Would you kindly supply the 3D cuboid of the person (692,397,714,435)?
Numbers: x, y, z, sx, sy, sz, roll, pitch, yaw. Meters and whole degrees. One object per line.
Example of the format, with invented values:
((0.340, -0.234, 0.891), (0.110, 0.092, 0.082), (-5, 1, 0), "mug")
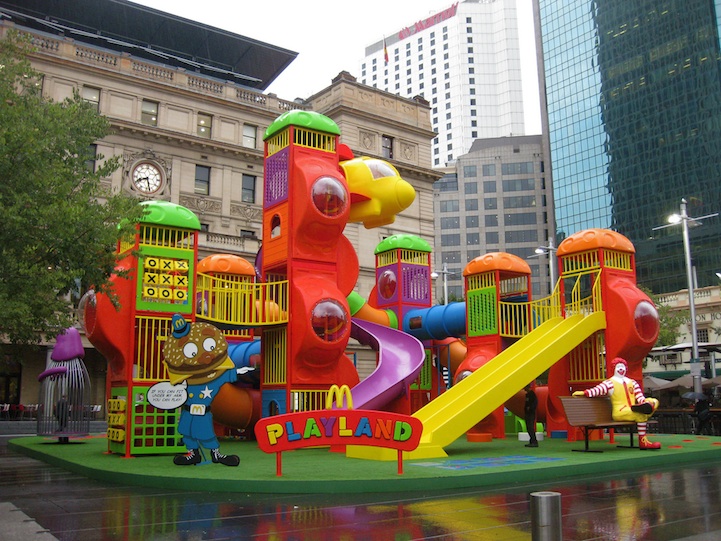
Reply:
((13.539, 5.734, 29.908), (0.700, 1.439, 3.482), (-4, -11, 24), "person")

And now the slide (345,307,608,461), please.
((3.099, 3.383, 23.801), (8.984, 4.535, 4.417), (7, -12, -33), "slide")
